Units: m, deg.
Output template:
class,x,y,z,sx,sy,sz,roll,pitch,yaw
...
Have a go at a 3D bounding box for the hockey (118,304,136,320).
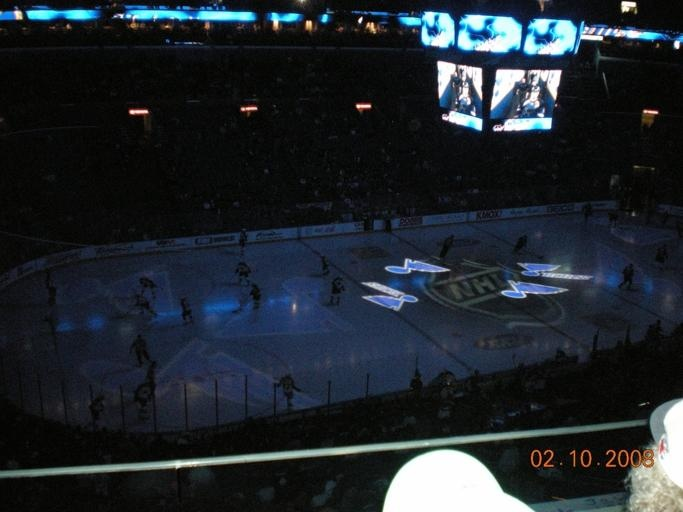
class,x,y,z,sx,sy,sz,roll,pitch,yaw
hockey,-10.199,2.671,33.993,0.562,0.375,0.553,-9,20,-35
